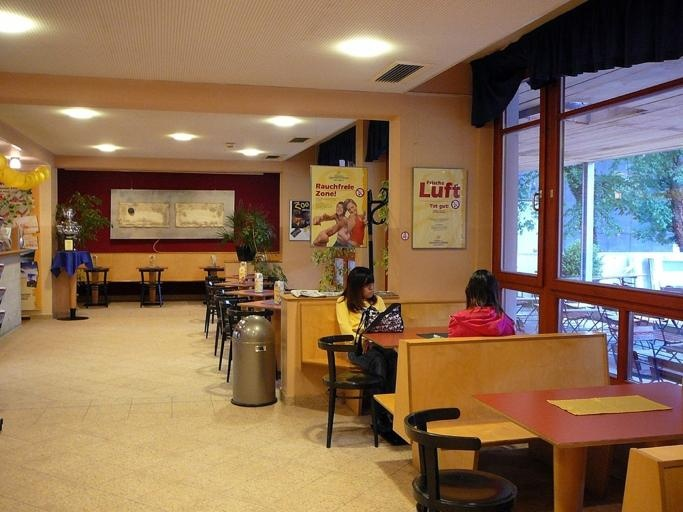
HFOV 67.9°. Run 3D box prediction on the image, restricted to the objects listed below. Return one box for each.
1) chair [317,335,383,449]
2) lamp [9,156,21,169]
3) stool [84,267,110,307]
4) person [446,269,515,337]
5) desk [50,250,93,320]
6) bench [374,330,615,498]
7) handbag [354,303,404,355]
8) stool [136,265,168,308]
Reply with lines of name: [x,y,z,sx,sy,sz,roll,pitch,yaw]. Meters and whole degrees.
chair: [0.035,1.220,5.088,0.831,1.224,0.982,-1,0,-2]
lamp: [-6.419,-1.838,9.983,0.164,0.251,0.498,-3,4,-36]
stool: [-6.471,0.822,13.385,0.745,0.968,0.765,0,1,0]
person: [1.187,0.483,4.307,0.615,0.712,0.394,0,1,-4]
desk: [-6.012,0.651,11.295,0.929,1.385,0.870,2,-9,-45]
bench: [1.242,1.091,3.921,1.659,0.898,1.177,0,-10,-10]
handbag: [0.337,0.712,4.854,0.467,0.414,0.182,-2,-6,-13]
stool: [-5.070,0.810,13.530,0.737,0.913,0.723,-1,1,42]
